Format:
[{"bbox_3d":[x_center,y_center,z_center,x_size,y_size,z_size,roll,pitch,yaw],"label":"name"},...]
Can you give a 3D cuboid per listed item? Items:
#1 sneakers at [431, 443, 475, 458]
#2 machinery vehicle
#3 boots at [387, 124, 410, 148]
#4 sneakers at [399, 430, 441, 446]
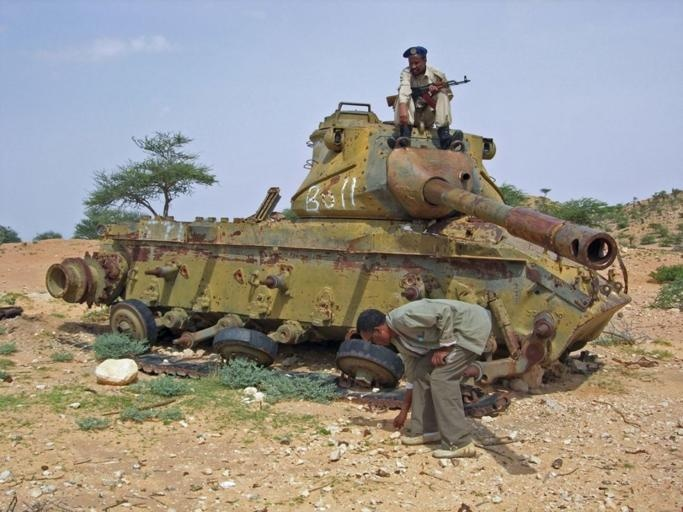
[{"bbox_3d":[1.516,2.669,8.145,0.458,0.191,0.221,3,-6,0],"label":"sneakers"},{"bbox_3d":[-0.375,-0.603,13.016,12.471,5.621,5.598,6,8,34],"label":"machinery vehicle"},{"bbox_3d":[1.107,-2.300,11.724,0.454,0.454,0.432,2,7,4],"label":"boots"},{"bbox_3d":[1.123,2.631,8.708,0.539,0.213,0.197,3,-8,-11],"label":"sneakers"}]
